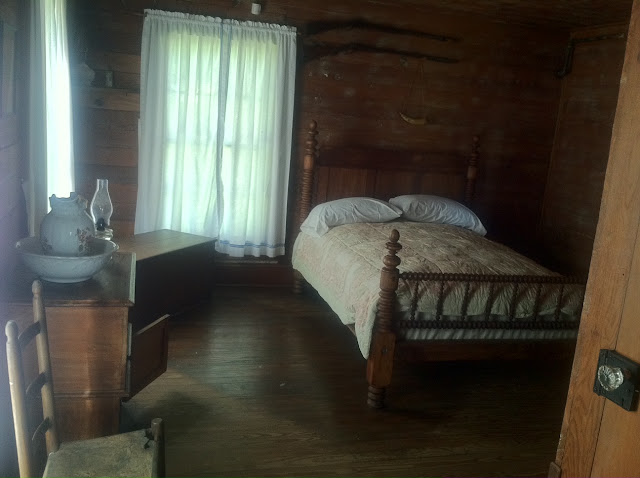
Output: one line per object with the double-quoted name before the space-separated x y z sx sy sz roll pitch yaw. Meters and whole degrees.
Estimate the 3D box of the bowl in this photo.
"bowl" -1.112 0.092 2.397 0.364 0.130 0.372 5 14 -1

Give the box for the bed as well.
"bed" 0.780 0.118 4.236 1.554 1.202 2.274 0 15 -12

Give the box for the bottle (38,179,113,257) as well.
"bottle" -1.000 -0.065 2.384 0.243 0.324 0.252 1 6 0

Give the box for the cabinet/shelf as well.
"cabinet/shelf" -0.930 0.492 2.514 0.714 0.656 0.496 0 19 -11
